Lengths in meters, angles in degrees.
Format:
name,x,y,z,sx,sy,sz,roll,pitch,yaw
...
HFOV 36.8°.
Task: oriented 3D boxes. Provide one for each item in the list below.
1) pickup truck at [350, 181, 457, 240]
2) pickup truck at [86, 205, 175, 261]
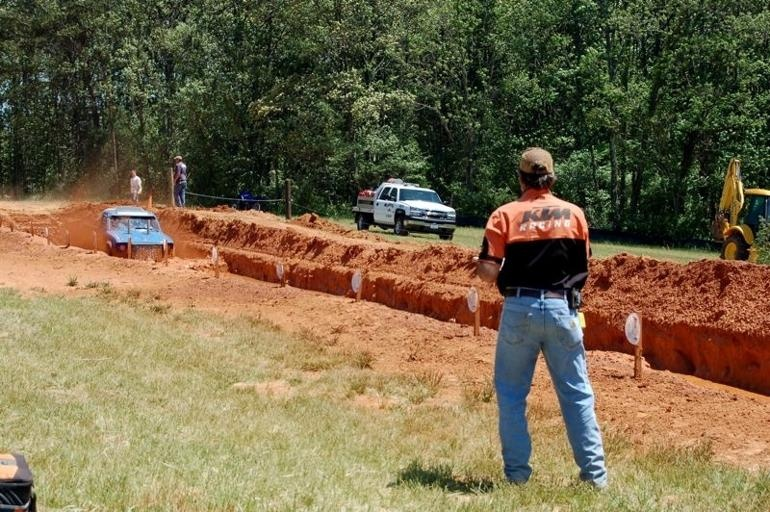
name,x,y,z,sx,sy,sz,roll,pitch,yaw
pickup truck,0.989,-2.236,57.673,2.463,2.579,5.015,0,4,-30
pickup truck,-11.325,-0.987,52.135,3.322,2.024,2.170,3,7,-5
